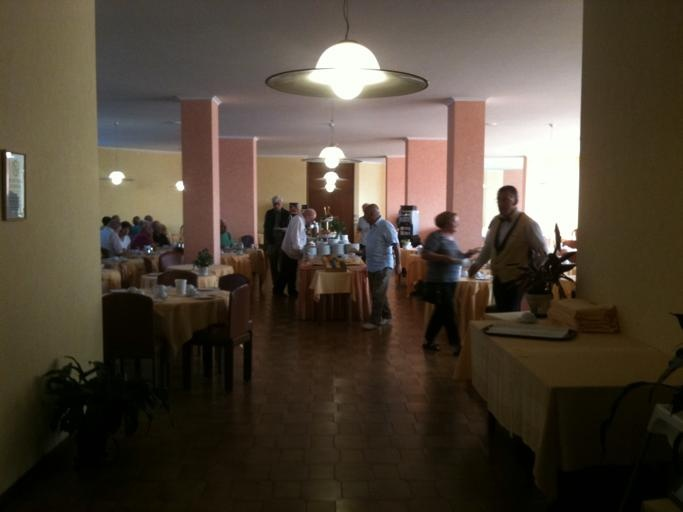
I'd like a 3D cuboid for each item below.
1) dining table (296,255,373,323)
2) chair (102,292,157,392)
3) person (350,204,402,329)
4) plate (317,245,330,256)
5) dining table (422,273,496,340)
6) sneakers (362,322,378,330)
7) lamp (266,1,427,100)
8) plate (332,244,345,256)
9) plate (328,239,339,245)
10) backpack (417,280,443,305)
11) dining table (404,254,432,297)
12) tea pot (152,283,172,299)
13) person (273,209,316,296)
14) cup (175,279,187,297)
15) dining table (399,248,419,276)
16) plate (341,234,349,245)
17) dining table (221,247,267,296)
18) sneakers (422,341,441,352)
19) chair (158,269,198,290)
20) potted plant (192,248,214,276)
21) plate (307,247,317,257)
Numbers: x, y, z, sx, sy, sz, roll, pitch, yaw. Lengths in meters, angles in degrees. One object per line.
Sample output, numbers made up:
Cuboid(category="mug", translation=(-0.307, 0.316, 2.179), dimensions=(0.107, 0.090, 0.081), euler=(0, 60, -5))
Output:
Cuboid(category="dining table", translation=(-0.115, 0.495, 7.064), dimensions=(0.624, 0.491, 0.924), euler=(0, 4, 0))
Cuboid(category="chair", translation=(-1.666, 0.657, 4.424), dimensions=(0.379, 0.759, 0.229), euler=(-2, 7, -15))
Cuboid(category="person", translation=(0.431, 0.101, 6.887), dimensions=(0.561, 1.459, 0.469), euler=(2, 1, 35))
Cuboid(category="plate", translation=(-0.270, -0.086, 8.189), dimensions=(0.148, 0.148, 0.152), euler=(1, 0, 38))
Cuboid(category="dining table", translation=(1.280, 0.535, 6.201), dimensions=(0.607, 0.648, 0.646), euler=(1, -1, 3))
Cuboid(category="sneakers", translation=(0.335, 0.874, 6.970), dimensions=(0.155, 0.053, 0.089), euler=(5, 29, 8))
Cuboid(category="lamp", translation=(0.044, -1.087, 3.435), dimensions=(0.608, 0.655, 0.617), euler=(-4, 8, -43))
Cuboid(category="plate", translation=(-0.048, -0.085, 8.074), dimensions=(0.151, 0.151, 0.153), euler=(1, 0, -19))
Cuboid(category="plate", translation=(-0.140, -0.239, 9.244), dimensions=(0.115, 0.091, 0.119), euler=(3, 3, 23))
Cuboid(category="backpack", translation=(0.881, 0.335, 5.888), dimensions=(0.324, 0.312, 0.183), euler=(5, 12, 39))
Cuboid(category="dining table", translation=(1.195, 0.278, 9.169), dimensions=(0.432, 0.676, 0.663), euler=(0, -1, -1))
Cuboid(category="tea pot", translation=(-1.574, 0.323, 4.965), dimensions=(0.085, 0.110, 0.149), euler=(0, -11, 2))
Cuboid(category="person", translation=(-0.777, -0.044, 8.917), dimensions=(0.531, 1.429, 0.573), euler=(4, 44, -13))
Cuboid(category="cup", translation=(-1.452, 0.282, 5.096), dimensions=(0.133, 0.170, 0.124), euler=(0, -2, 0))
Cuboid(category="dining table", translation=(1.147, 0.105, 9.752), dimensions=(0.423, 0.441, 0.429), euler=(1, 1, 22))
Cuboid(category="plate", translation=(0.052, -0.284, 9.409), dimensions=(0.164, 0.197, 0.171), euler=(2, 4, 12))
Cuboid(category="dining table", translation=(-1.570, 0.188, 9.309), dimensions=(0.785, 0.623, 0.803), euler=(-1, 2, -8))
Cuboid(category="sneakers", translation=(0.958, 0.976, 6.040), dimensions=(0.203, 0.090, 0.076), euler=(0, 17, 14))
Cuboid(category="chair", translation=(-1.703, 0.256, 5.986), dimensions=(0.211, 0.214, 0.294), euler=(0, -4, 3))
Cuboid(category="potted plant", translation=(-1.708, 0.063, 6.889), dimensions=(0.291, 0.392, 0.299), euler=(0, 2, 34))
Cuboid(category="plate", translation=(-0.456, -0.063, 8.530), dimensions=(0.132, 0.107, 0.137), euler=(3, 0, 12))
